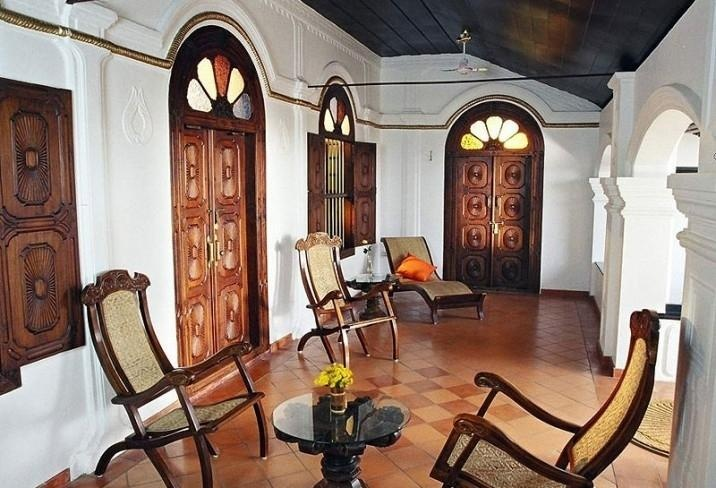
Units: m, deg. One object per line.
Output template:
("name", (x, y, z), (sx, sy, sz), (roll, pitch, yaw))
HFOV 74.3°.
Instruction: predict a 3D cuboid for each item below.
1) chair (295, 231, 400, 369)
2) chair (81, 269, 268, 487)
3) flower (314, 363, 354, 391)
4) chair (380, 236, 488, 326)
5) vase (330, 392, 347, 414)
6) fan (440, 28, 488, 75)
("chair", (-0.163, 0.716, 6.227), (1.073, 1.655, 1.338), (-3, 3, -26))
("chair", (-1.586, 1.055, 3.853), (1.128, 1.665, 0.814), (1, 6, 28))
("flower", (-0.193, 1.083, 3.797), (0.278, 0.242, 0.163), (-2, 5, 1))
("chair", (1.247, 0.597, 8.385), (0.959, 1.224, 1.986), (-1, 8, -25))
("vase", (-0.146, 1.266, 3.798), (0.145, 0.158, 0.140), (-1, 3, -26))
("fan", (1.443, -2.614, 6.413), (0.506, 0.560, 0.546), (1, 17, 14))
